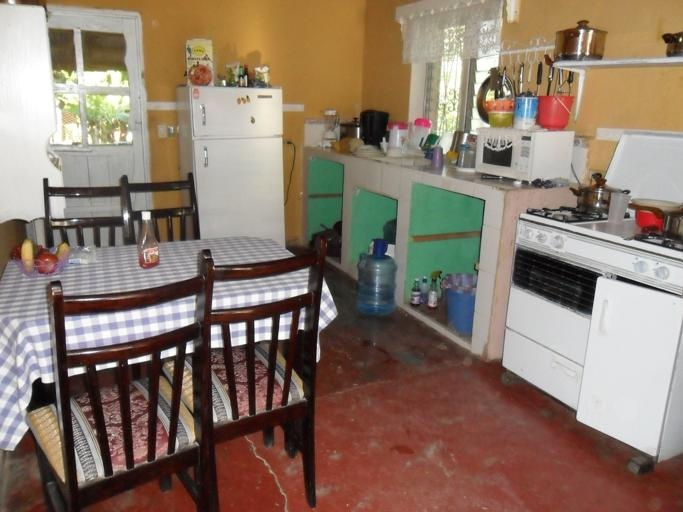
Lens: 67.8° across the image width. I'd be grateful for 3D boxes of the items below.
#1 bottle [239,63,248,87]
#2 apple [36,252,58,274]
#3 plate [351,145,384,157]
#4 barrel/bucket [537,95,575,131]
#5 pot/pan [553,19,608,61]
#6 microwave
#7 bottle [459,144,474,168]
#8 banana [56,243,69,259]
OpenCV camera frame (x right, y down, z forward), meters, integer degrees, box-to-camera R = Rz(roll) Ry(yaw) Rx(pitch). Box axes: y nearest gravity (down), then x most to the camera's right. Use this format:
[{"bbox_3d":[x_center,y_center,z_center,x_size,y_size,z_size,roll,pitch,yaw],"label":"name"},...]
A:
[{"bbox_3d":[-0.911,-1.661,4.697,0.096,0.189,0.254,-3,19,-10],"label":"bottle"},{"bbox_3d":[-1.346,0.031,2.320,0.082,0.087,0.086,0,6,2],"label":"apple"},{"bbox_3d":[0.262,-0.931,4.538,0.322,0.073,0.270,11,21,28],"label":"plate"},{"bbox_3d":[1.367,-0.922,3.270,0.216,0.210,0.237,1,12,0],"label":"barrel/bucket"},{"bbox_3d":[1.438,-1.247,3.067,0.260,0.219,0.267,-7,17,-19],"label":"pot/pan"},{"bbox_3d":[1.239,-0.645,3.431,0.385,0.382,0.571,-6,25,-19],"label":"microwave"},{"bbox_3d":[0.949,-0.752,3.840,0.140,0.174,0.147,0,15,-1],"label":"bottle"},{"bbox_3d":[-1.335,-0.022,2.451,0.032,0.055,0.092,14,34,-11],"label":"banana"}]
